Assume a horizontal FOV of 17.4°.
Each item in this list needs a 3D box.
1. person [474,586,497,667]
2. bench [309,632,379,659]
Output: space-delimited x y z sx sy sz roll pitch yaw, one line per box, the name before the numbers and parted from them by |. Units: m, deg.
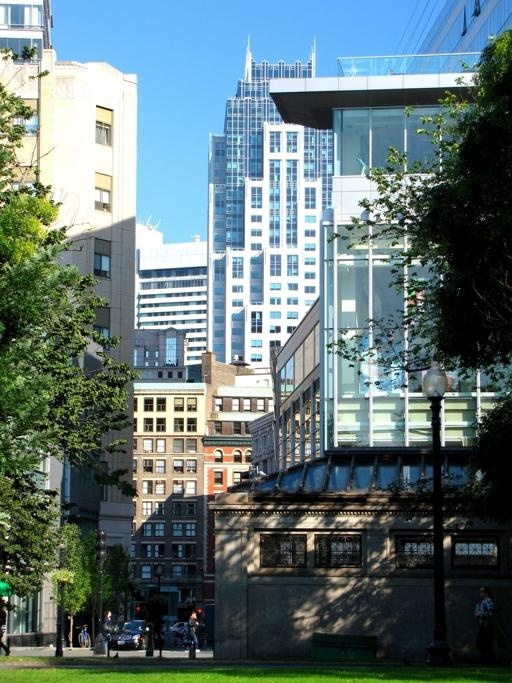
person | 4.976 6.090 36.293 0.403 1.620 0.939 -3 -9 6
bench | 2.029 7.073 39.187 1.519 0.619 0.851 -2 -10 1
